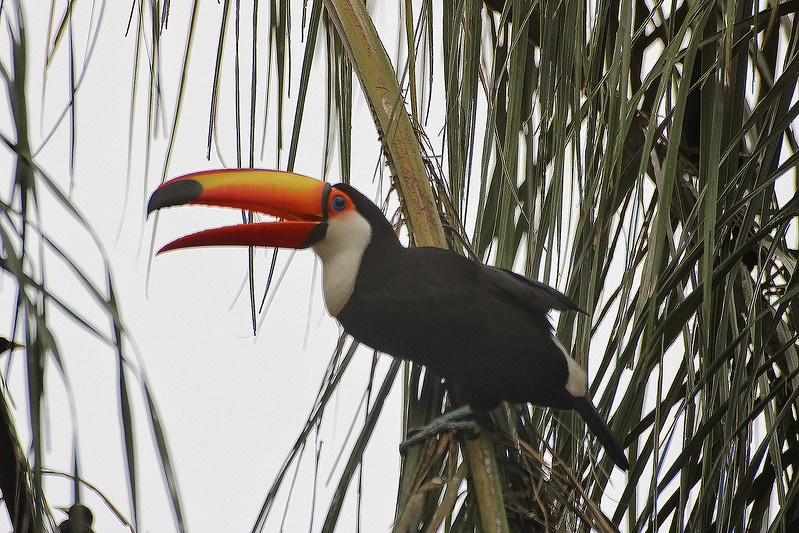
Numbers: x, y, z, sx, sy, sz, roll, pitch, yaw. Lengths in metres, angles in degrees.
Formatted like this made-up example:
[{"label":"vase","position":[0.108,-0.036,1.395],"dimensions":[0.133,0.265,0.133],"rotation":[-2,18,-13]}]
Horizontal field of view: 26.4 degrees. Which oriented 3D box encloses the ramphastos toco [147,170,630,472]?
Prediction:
[{"label":"ramphastos toco","position":[-0.010,0.116,3.178],"dimensions":[0.869,0.546,0.310],"rotation":[4,-22,-9]}]
